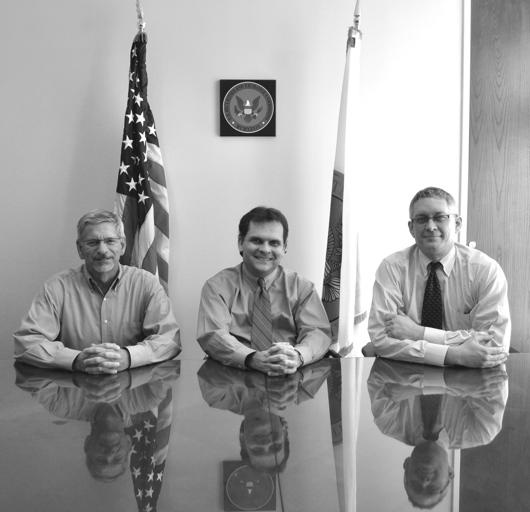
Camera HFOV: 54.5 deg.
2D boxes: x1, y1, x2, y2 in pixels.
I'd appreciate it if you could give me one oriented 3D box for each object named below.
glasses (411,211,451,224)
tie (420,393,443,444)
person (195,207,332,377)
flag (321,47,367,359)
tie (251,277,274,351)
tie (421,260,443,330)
[{"bbox_3d":[0.788,-0.174,2.426,0.169,0.053,0.051,1,3,23],"label":"glasses"},{"bbox_3d":[0.430,0.411,1.335,0.043,0.065,0.219,0,3,11],"label":"tie"},{"bbox_3d":[0.008,0.260,2.394,0.536,1.048,0.632,-1,-2,1],"label":"person"},{"bbox_3d":[0.483,-0.333,2.967,0.174,1.736,0.448,1,3,15],"label":"flag"},{"bbox_3d":[-0.014,0.267,2.402,0.100,0.309,0.186,0,3,-2],"label":"tie"},{"bbox_3d":[0.803,0.180,2.477,0.087,0.013,0.432,3,44,16],"label":"tie"}]
